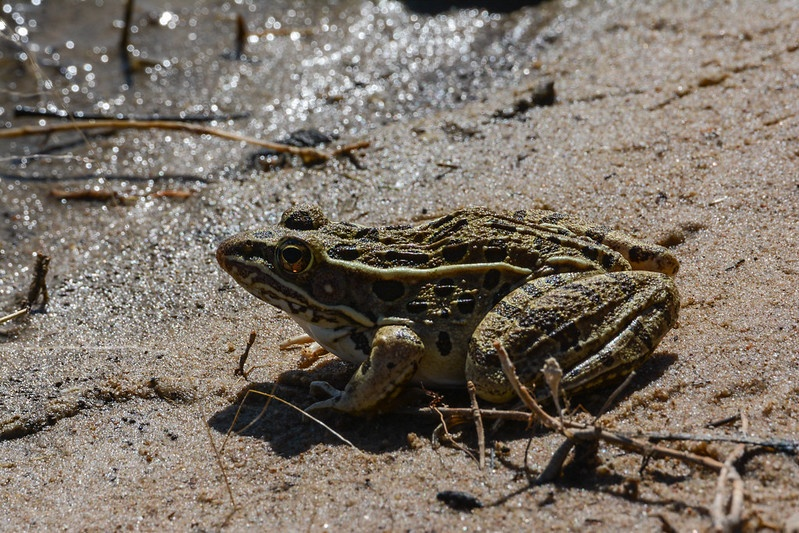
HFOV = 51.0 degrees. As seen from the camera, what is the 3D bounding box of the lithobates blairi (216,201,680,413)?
[{"bbox_3d":[0.472,0.247,7.188,3.607,2.415,1.273,-5,-71,-8],"label":"lithobates blairi"}]
